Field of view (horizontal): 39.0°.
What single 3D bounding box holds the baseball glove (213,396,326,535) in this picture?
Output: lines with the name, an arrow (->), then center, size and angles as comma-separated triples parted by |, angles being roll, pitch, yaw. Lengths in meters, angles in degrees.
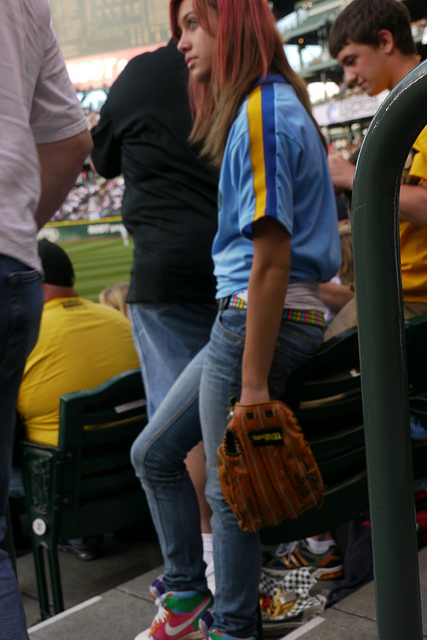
baseball glove -> 0.120, 0.292, 1.369 | 0.252, 0.279, 0.109 | -12, 8, 8
